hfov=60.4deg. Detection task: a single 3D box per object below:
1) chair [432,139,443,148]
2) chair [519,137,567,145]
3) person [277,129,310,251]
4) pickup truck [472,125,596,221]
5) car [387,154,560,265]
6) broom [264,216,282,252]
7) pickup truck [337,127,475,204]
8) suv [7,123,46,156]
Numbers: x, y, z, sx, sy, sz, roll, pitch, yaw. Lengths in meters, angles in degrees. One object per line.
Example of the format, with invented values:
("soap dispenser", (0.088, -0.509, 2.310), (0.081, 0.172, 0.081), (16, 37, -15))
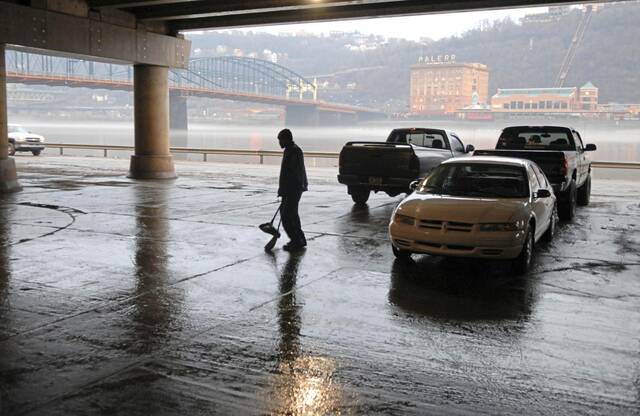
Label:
("chair", (3.521, -1.897, 16.241), (0.334, 0.311, 0.177), (-1, 0, -2))
("chair", (6.328, -1.887, 15.443), (1.082, 0.260, 0.181), (1, -29, -4))
("person", (-0.505, -0.396, 10.566), (0.535, 2.232, 1.304), (-1, 13, -3))
("pickup truck", (6.123, -1.130, 15.251), (2.618, 2.101, 5.152), (6, 10, 31))
("car", (2.851, 0.051, 9.741), (2.047, 1.654, 3.014), (10, 16, 37))
("broom", (-0.893, 0.564, 10.437), (0.291, 0.392, 0.728), (0, 13, -3))
("pickup truck", (3.031, -1.450, 17.052), (2.833, 1.980, 5.653), (6, 10, 34))
("suv", (-19.928, -4.486, 36.977), (2.027, 2.097, 3.277), (-7, 15, -28))
